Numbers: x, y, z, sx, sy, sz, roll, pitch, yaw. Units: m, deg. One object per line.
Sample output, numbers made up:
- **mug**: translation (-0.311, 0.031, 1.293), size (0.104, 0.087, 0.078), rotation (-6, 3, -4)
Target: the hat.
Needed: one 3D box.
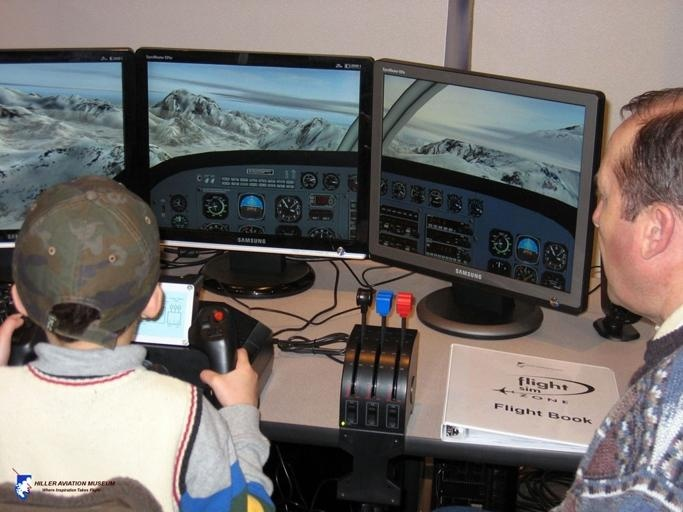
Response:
- **hat**: translation (-0.421, 0.012, 1.002), size (0.225, 0.295, 0.178), rotation (7, -13, -18)

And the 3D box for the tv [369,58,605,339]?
- **tv**: translation (0.371, -0.137, 1.568), size (0.664, 0.634, 0.346), rotation (12, 26, 24)

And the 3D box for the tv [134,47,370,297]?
- **tv**: translation (-0.260, -0.257, 1.696), size (0.732, 0.681, 0.298), rotation (4, 19, 3)
